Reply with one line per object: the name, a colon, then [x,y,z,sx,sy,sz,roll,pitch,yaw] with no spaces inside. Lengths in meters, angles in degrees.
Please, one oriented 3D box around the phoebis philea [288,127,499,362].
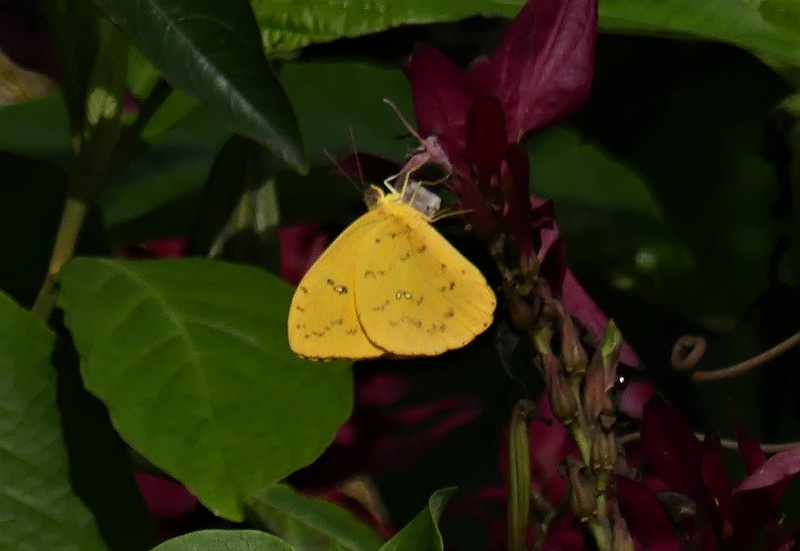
phoebis philea: [-0.006,-0.038,0.800,0.133,0.096,0.205,-30,-71,4]
